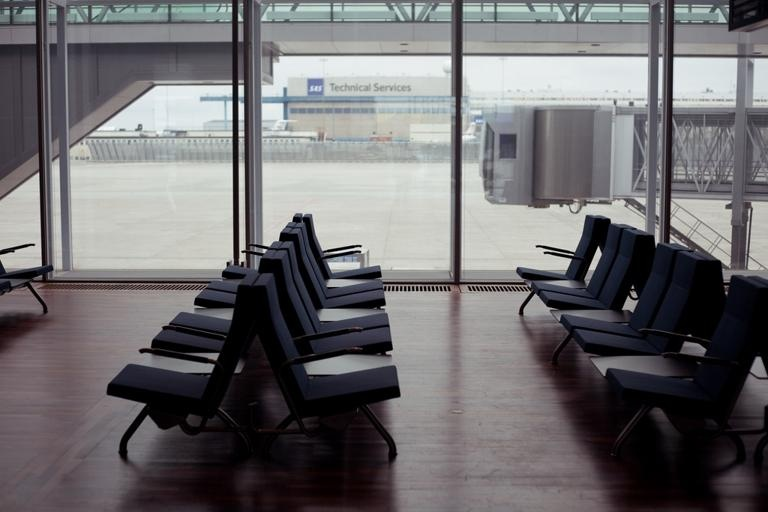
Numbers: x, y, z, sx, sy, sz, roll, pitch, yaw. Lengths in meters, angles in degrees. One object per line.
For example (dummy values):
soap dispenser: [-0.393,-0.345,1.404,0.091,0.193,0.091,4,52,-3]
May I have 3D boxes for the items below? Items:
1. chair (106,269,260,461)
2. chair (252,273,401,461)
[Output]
chair: [-1.457,0.800,5.238,1.090,1.095,0.910,1,1,-1]
chair: [-0.392,0.809,5.241,1.233,1.058,0.927,4,2,-11]
